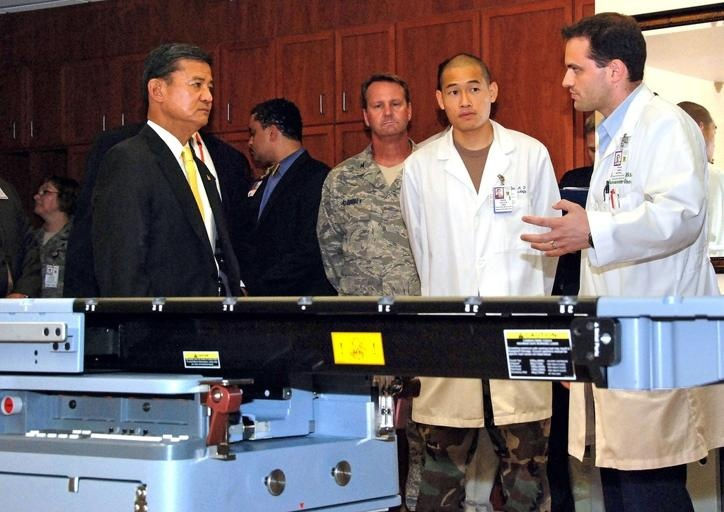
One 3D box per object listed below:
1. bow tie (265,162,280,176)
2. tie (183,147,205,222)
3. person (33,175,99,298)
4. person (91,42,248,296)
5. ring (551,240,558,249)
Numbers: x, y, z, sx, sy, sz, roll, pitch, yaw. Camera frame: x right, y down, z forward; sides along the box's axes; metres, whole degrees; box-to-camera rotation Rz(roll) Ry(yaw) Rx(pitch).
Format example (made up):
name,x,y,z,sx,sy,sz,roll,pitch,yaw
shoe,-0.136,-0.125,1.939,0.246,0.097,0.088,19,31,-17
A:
name,x,y,z,sx,sy,sz,roll,pitch,yaw
bow tie,-0.513,-0.503,4.767,0.037,0.073,0.071,8,24,-37
tie,-0.643,-0.265,3.175,0.035,0.302,0.043,-16,0,-39
person,-1.549,-0.086,4.331,0.266,0.939,0.327,6,-31,-23
person,-0.753,-0.336,3.104,0.339,1.003,0.551,-4,-2,30
ring,0.606,-0.034,2.604,0.017,0.020,0.041,-4,-1,19
